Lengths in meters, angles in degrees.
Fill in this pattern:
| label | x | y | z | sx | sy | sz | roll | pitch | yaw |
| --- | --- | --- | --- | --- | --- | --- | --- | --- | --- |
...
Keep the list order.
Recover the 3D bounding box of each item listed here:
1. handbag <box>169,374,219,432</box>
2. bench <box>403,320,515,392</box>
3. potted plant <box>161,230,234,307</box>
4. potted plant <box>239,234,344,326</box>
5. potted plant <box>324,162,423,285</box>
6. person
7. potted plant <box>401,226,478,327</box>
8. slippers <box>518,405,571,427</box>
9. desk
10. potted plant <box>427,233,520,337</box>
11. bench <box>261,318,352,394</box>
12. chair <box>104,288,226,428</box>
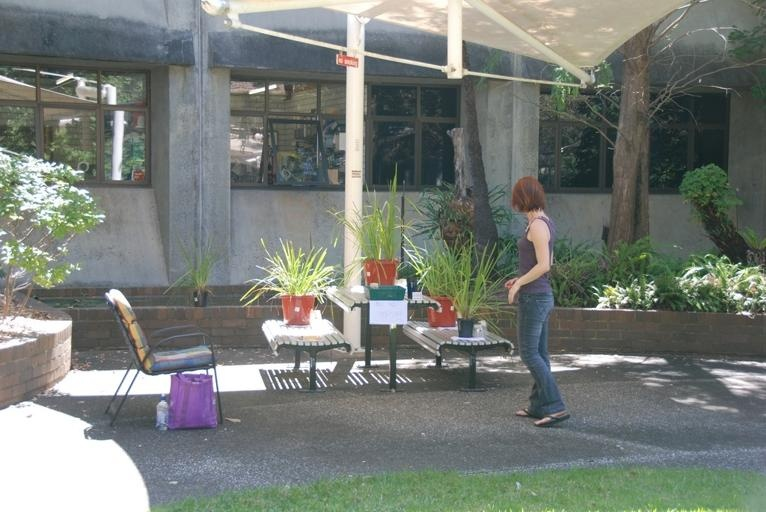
| label | x | y | z | sx | sy | sz | roll | pitch | yaw |
| --- | --- | --- | --- | --- | --- | --- | --- | --- | --- |
| handbag | -2.049 | 1.544 | 7.585 | 0.489 | 0.605 | 0.300 | 1 | 1 | -23 |
| bench | 0.953 | 1.277 | 9.260 | 0.997 | 0.652 | 1.348 | -2 | 9 | -17 |
| potted plant | -3.009 | 0.215 | 11.815 | 1.106 | 1.224 | 1.173 | -4 | -8 | 43 |
| potted plant | -1.232 | 0.440 | 9.520 | 1.221 | 0.910 | 1.274 | 0 | -5 | 1 |
| potted plant | -0.076 | -0.150 | 9.079 | 1.096 | 1.112 | 0.864 | -2 | -4 | 23 |
| person | 1.684 | 0.491 | 7.700 | 0.697 | 2.680 | 0.467 | 2 | 8 | 11 |
| potted plant | 0.816 | 0.238 | 10.159 | 1.149 | 1.100 | 1.164 | 1 | -1 | 2 |
| slippers | 1.792 | 1.733 | 7.696 | 0.430 | 0.129 | 0.208 | 0 | 5 | -9 |
| desk | -0.108 | 1.371 | 9.125 | 1.050 | 1.070 | 1.986 | 1 | 3 | -9 |
| potted plant | 1.119 | 0.413 | 10.470 | 1.414 | 1.341 | 1.432 | 2 | 3 | 39 |
| bench | -0.983 | 1.268 | 8.956 | 1.012 | 0.694 | 1.130 | -1 | 9 | -14 |
| chair | -2.537 | 1.149 | 8.016 | 1.260 | 1.488 | 1.029 | -2 | 1 | -16 |
